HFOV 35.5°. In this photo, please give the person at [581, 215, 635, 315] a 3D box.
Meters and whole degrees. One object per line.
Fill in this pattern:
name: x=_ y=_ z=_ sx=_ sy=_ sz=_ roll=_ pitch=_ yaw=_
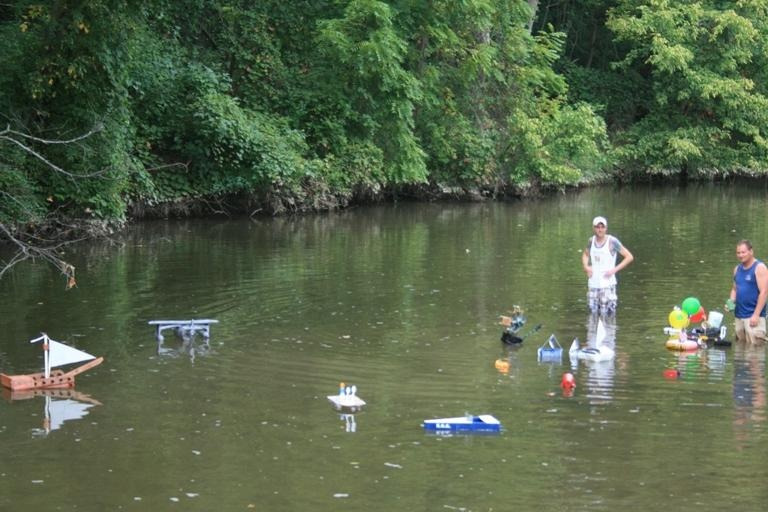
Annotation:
person: x=5.359 y=0.224 z=29.290 sx=1.094 sy=2.392 sz=0.577 roll=9 pitch=16 yaw=34
